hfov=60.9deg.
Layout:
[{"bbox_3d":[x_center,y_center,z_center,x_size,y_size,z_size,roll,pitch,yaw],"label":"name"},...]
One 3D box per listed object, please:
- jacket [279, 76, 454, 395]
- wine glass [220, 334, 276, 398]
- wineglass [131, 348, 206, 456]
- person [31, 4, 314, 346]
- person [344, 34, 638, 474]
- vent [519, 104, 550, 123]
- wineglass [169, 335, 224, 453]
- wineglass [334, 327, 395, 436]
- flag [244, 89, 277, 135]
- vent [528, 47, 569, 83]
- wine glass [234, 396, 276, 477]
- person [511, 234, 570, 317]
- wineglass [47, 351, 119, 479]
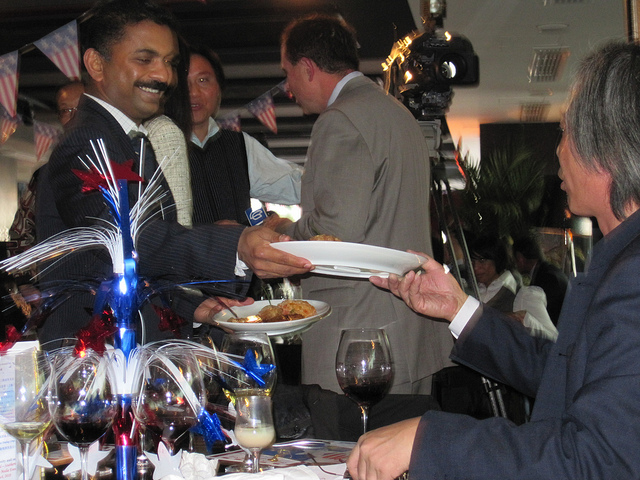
[{"bbox_3d":[0.056,0.065,2.384,0.578,1.752,0.601,-17,29,-34],"label":"jacket"},{"bbox_3d":[-0.181,0.317,1.286,0.138,0.180,0.127,10,-23,-32],"label":"wine glass"},{"bbox_3d":[-0.293,0.312,1.057,0.101,0.138,0.113,-1,2,28],"label":"wineglass"},{"bbox_3d":[-0.480,-0.252,1.575,0.641,0.743,0.970,-3,1,-29],"label":"person"},{"bbox_3d":[0.440,0.011,1.290,0.574,0.896,0.783,-2,1,16],"label":"person"},{"bbox_3d":[2.742,-1.622,6.981,0.481,0.232,0.138,-3,2,-27],"label":"vent"},{"bbox_3d":[-0.302,0.340,1.284,0.133,0.298,0.133,5,27,-1],"label":"wineglass"},{"bbox_3d":[0.115,0.415,1.421,0.148,0.362,0.137,-2,-1,7],"label":"wineglass"},{"bbox_3d":[-0.644,-1.508,6.209,0.041,0.594,0.582,9,22,27],"label":"flag"},{"bbox_3d":[2.794,-2.116,6.627,0.116,0.491,0.479,-11,22,-35],"label":"vent"},{"bbox_3d":[-0.142,0.425,1.171,0.090,0.171,0.089,-1,2,45],"label":"wine glass"},{"bbox_3d":[1.499,0.245,3.688,0.319,0.940,0.359,1,11,27],"label":"person"},{"bbox_3d":[-0.441,0.292,1.005,0.119,0.162,0.051,-2,2,13],"label":"wineglass"}]
